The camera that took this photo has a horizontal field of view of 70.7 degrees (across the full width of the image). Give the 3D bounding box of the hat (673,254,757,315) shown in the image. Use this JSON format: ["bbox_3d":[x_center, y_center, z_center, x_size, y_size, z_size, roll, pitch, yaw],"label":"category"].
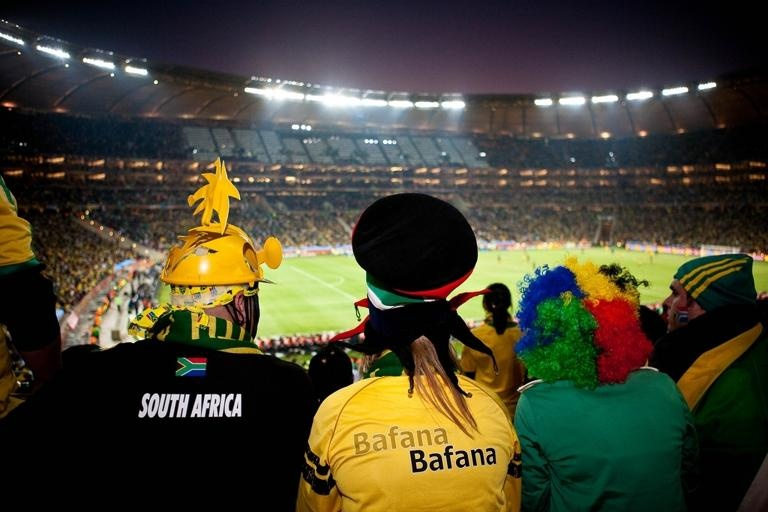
[{"bbox_3d":[3.267,0.188,5.281,0.518,0.545,0.656,-2,19,-29],"label":"hat"}]
